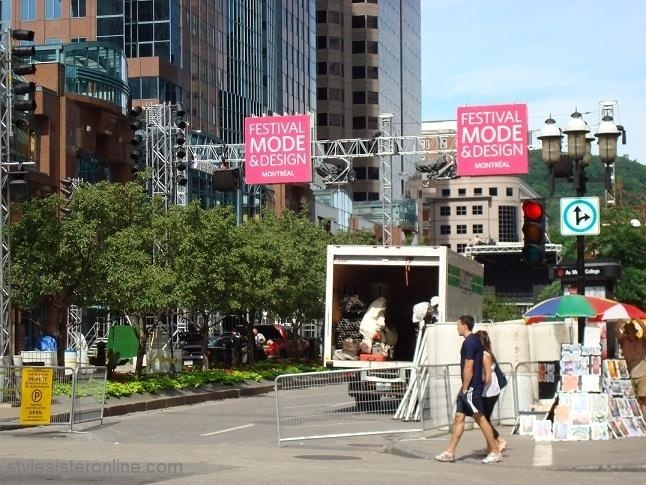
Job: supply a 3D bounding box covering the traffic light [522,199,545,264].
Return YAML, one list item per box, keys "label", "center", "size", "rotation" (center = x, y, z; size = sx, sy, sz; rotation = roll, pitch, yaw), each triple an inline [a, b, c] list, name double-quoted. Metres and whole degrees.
- label: "traffic light"
  center: [4.835, -0.258, 27.525]
  size: [0.490, 1.511, 0.458]
  rotation: [-1, -3, 8]

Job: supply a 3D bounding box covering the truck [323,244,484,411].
- label: "truck"
  center: [2.743, 2.538, 33.800]
  size: [3.286, 4.308, 6.535]
  rotation: [-3, -7, 21]

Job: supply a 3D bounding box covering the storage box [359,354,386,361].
- label: "storage box"
  center: [1.314, 3.084, 31.473]
  size: [0.736, 0.208, 0.501]
  rotation: [-1, -3, -10]

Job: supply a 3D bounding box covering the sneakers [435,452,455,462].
- label: "sneakers"
  center: [2.411, 4.314, 23.675]
  size: [0.355, 0.171, 0.173]
  rotation: [4, -6, 4]

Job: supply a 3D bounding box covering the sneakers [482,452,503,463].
- label: "sneakers"
  center: [3.312, 4.292, 23.481]
  size: [0.372, 0.179, 0.180]
  rotation: [-1, -2, -9]
